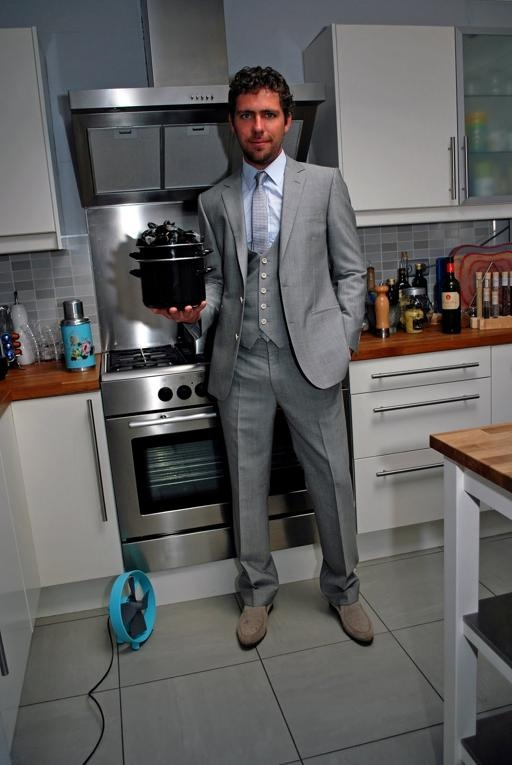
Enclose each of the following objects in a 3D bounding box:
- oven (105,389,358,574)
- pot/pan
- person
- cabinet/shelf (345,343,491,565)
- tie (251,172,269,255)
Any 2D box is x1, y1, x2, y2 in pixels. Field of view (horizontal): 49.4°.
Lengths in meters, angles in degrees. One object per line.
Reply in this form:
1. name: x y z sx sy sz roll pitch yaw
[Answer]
1. oven: -0.120 0.240 2.051 0.765 0.740 0.408 -7 15 -4
2. pot/pan: -0.211 -0.289 1.393 0.209 0.202 0.162 3 19 22
3. person: 0.050 -0.048 1.593 0.512 1.673 0.529 -2 3 17
4. cabinet/shelf: 0.711 0.234 2.134 0.622 0.643 0.419 -11 -18 37
5. tie: 0.003 -0.485 1.538 0.046 0.229 0.031 8 -25 -6
